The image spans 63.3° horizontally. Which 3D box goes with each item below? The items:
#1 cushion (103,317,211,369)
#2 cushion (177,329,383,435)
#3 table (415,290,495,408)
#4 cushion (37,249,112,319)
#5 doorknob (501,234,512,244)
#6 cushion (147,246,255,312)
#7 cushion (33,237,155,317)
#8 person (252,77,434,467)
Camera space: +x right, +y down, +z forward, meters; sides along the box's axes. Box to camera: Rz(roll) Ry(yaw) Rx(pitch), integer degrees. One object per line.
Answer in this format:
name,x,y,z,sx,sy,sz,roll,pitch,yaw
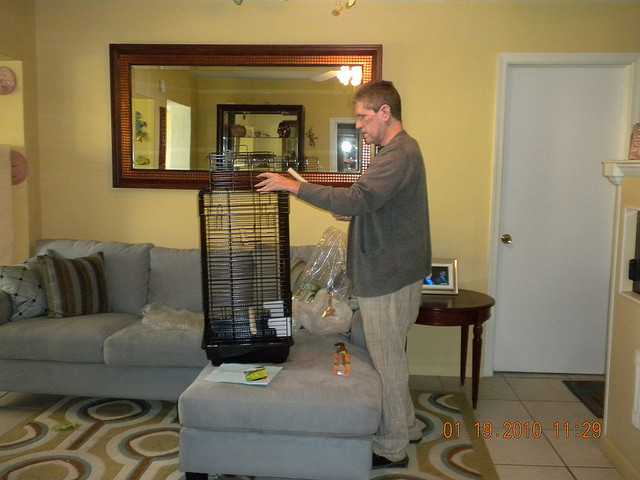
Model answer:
cushion,-1.043,0.676,3.255,0.402,0.110,0.370,2,7,-6
cushion,-0.166,0.715,2.831,0.980,0.301,0.737,2,12,4
table,0.828,0.671,3.755,0.772,0.743,0.739,0,7,2
cushion,-1.700,0.320,3.608,0.454,0.392,0.233,-5,8,-38
doorknob,1.437,-0.012,3.991,0.085,0.074,0.023,1,13,-2
cushion,-0.744,0.259,3.254,0.525,0.291,0.064,0,-3,8
cushion,-1.529,0.320,4.040,0.664,0.610,0.192,-1,-18,-15
person,0.018,0.162,3.073,1.258,2.165,1.060,-2,4,-19
